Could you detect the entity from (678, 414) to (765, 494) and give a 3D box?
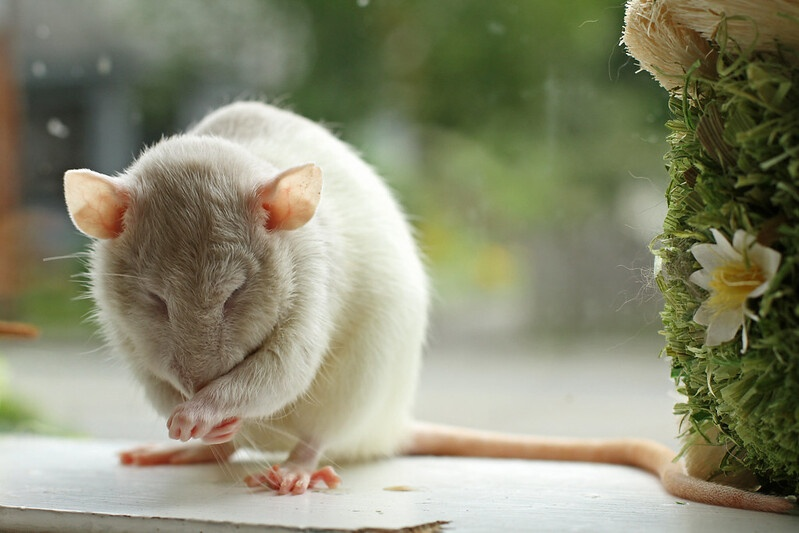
[{"bbox_3d":[0.781,0.465,2.426,0.181,0.152,0.252,5,4,-31],"label":"entity"}]

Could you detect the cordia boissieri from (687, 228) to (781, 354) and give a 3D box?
[{"bbox_3d":[0.759,0.051,2.169,0.083,0.247,0.200,5,4,-30],"label":"cordia boissieri"}]
